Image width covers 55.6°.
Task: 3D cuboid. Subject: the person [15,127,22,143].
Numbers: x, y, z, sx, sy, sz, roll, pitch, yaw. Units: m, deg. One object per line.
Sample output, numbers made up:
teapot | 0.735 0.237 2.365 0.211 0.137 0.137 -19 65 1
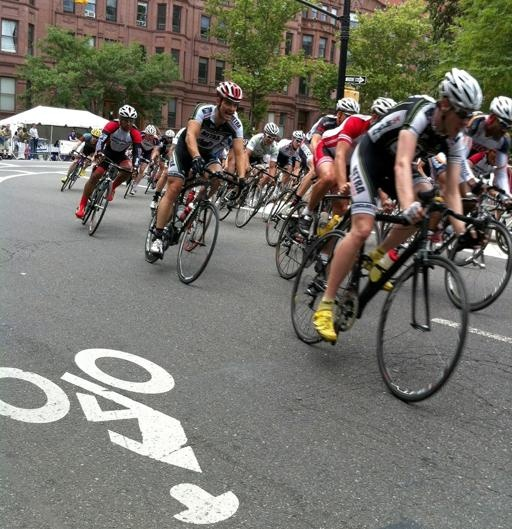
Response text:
person | -17.718 -9.717 36.234 0.531 1.078 0.855 3 7 -20

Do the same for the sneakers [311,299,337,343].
sneakers | 0.528 0.405 3.721 0.150 0.240 0.404 7 20 -8

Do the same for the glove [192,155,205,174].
glove | -0.667 -1.169 5.706 0.157 0.173 0.198 -6 3 -23

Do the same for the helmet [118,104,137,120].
helmet | -2.761 -3.237 10.267 0.338 0.172 0.465 -6 27 -30

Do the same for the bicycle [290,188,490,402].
bicycle | 0.902 0.081 3.579 0.551 1.229 2.169 23 6 -12

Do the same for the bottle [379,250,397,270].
bottle | 0.935 -0.033 3.467 0.129 0.080 0.045 -39 72 -24

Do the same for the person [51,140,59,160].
person | -16.466 -9.341 39.592 0.388 1.369 0.813 5 -2 38

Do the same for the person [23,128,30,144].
person | -17.460 -9.870 36.940 0.531 1.092 1.382 3 7 -22

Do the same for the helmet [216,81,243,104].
helmet | -0.373 -2.178 6.054 0.248 0.164 0.354 -1 30 -29

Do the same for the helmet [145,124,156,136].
helmet | -3.964 -5.006 18.034 0.347 0.219 0.576 0 30 -35

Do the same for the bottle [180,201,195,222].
bottle | -0.949 -0.725 6.591 0.079 0.248 0.255 42 -18 -20

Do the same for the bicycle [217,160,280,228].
bicycle | -0.418 -1.808 12.672 1.168 1.518 2.520 29 -1 -25

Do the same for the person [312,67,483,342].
person | 1.105 -0.393 3.479 1.146 1.868 1.019 15 18 29
